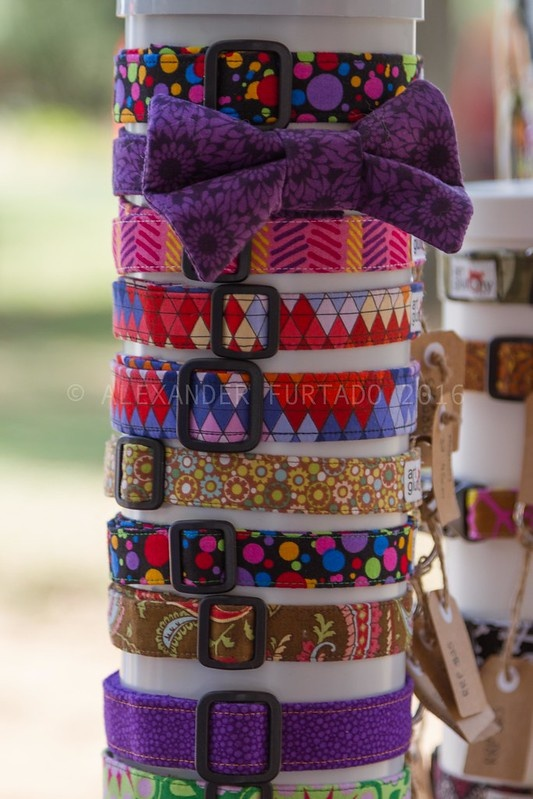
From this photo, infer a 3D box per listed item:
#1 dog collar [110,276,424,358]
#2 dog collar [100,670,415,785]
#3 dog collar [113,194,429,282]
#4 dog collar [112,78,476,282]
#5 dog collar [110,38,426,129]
[{"bbox_3d":[0.004,-0.043,0.449,0.164,0.034,0.072,-1,10,-10],"label":"dog collar"},{"bbox_3d":[-0.008,0.170,0.460,0.167,0.051,0.066,1,10,3],"label":"dog collar"},{"bbox_3d":[0.008,-0.086,0.473,0.138,0.031,0.138,8,14,21],"label":"dog collar"},{"bbox_3d":[0.029,-0.103,0.426,0.157,0.064,0.107,-1,4,-5],"label":"dog collar"},{"bbox_3d":[-0.013,-0.169,0.481,0.165,0.038,0.176,15,24,36],"label":"dog collar"}]
